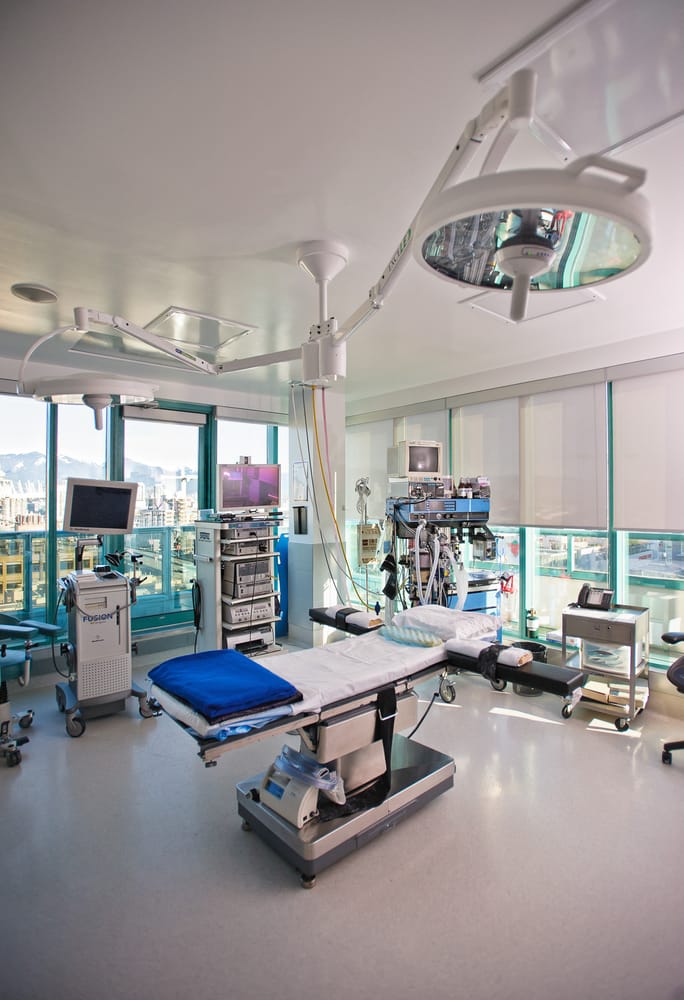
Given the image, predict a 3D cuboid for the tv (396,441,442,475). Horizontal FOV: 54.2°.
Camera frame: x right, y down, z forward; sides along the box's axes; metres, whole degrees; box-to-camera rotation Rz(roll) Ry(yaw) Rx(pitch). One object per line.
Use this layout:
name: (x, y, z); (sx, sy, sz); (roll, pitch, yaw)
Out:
tv: (0.600, -0.313, 5.067); (0.405, 0.357, 0.222); (-3, 4, -37)

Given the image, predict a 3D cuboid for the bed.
bed: (0.024, 1.052, 2.991); (1.475, 0.779, 0.625); (-7, 4, -37)

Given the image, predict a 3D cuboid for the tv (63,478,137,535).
tv: (-1.538, 0.037, 4.226); (0.383, 0.349, 0.041); (-1, 8, -32)
